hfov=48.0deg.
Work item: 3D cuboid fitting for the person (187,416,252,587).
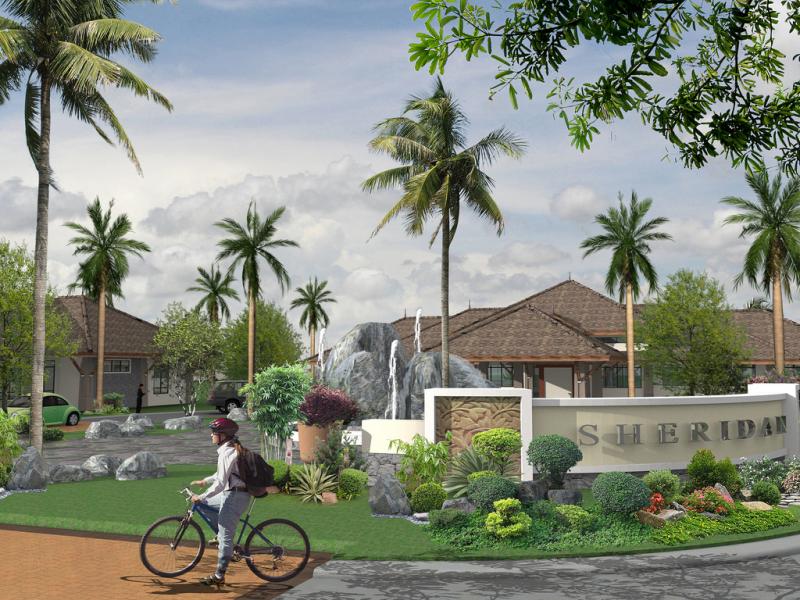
[{"bbox_3d":[-3.056,3.483,15.539,0.827,2.860,0.553,-3,-8,23],"label":"person"}]

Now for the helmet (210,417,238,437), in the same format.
[{"bbox_3d":[-3.063,2.205,15.643,0.401,0.277,0.321,-1,-7,5],"label":"helmet"}]

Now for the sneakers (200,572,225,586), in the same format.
[{"bbox_3d":[-3.219,4.886,15.644,0.524,0.273,0.184,6,-4,1],"label":"sneakers"}]
